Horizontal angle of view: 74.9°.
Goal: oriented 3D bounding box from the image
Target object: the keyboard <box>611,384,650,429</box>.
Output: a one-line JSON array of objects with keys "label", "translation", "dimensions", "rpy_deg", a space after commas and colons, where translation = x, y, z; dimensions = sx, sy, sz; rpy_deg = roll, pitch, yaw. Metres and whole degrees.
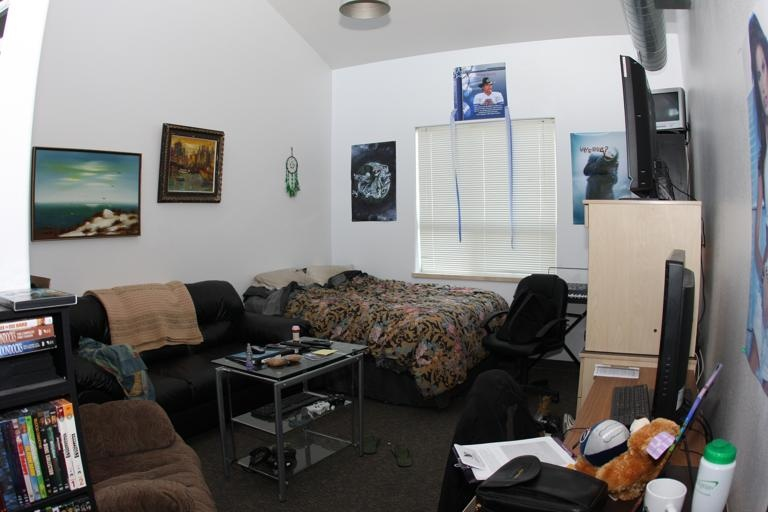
[{"label": "keyboard", "translation": [1.247, 0.721, 2.533], "dimensions": [0.172, 0.376, 0.078], "rpy_deg": [-14, 42, 17]}]

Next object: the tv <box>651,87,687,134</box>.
[{"label": "tv", "translation": [2.308, -1.190, 4.039], "dimensions": [0.266, 0.357, 0.243], "rpy_deg": [2, 25, 41]}]

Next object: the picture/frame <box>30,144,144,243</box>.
[{"label": "picture/frame", "translation": [-2.532, -0.533, 4.208], "dimensions": [0.064, 0.763, 0.878], "rpy_deg": [6, 8, 39]}]

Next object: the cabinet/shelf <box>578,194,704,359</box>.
[{"label": "cabinet/shelf", "translation": [1.778, 0.080, 3.521], "dimensions": [0.767, 1.345, 1.385], "rpy_deg": [1, 1, 32]}]

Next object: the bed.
[{"label": "bed", "translation": [-0.072, 0.683, 5.002], "dimensions": [1.776, 0.655, 1.692], "rpy_deg": [2, 5, 30]}]

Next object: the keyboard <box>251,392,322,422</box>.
[{"label": "keyboard", "translation": [-0.688, 1.071, 3.585], "dimensions": [0.183, 0.041, 0.310], "rpy_deg": [-5, 0, 40]}]

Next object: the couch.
[{"label": "couch", "translation": [-1.748, 0.831, 4.297], "dimensions": [1.095, 1.124, 2.018], "rpy_deg": [0, 5, 34]}]

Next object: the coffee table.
[{"label": "coffee table", "translation": [-0.700, 1.200, 3.668], "dimensions": [0.757, 0.763, 0.949], "rpy_deg": [-3, -6, -32]}]

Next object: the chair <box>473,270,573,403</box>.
[{"label": "chair", "translation": [1.327, 0.736, 4.731], "dimensions": [0.765, 1.155, 0.759], "rpy_deg": [4, 1, 30]}]

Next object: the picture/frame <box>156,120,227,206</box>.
[{"label": "picture/frame", "translation": [-1.923, -0.921, 4.996], "dimensions": [0.164, 0.765, 0.764], "rpy_deg": [6, 13, 27]}]

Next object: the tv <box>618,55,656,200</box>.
[{"label": "tv", "translation": [1.609, -0.803, 3.163], "dimensions": [0.245, 0.869, 0.433], "rpy_deg": [6, 13, 27]}]
